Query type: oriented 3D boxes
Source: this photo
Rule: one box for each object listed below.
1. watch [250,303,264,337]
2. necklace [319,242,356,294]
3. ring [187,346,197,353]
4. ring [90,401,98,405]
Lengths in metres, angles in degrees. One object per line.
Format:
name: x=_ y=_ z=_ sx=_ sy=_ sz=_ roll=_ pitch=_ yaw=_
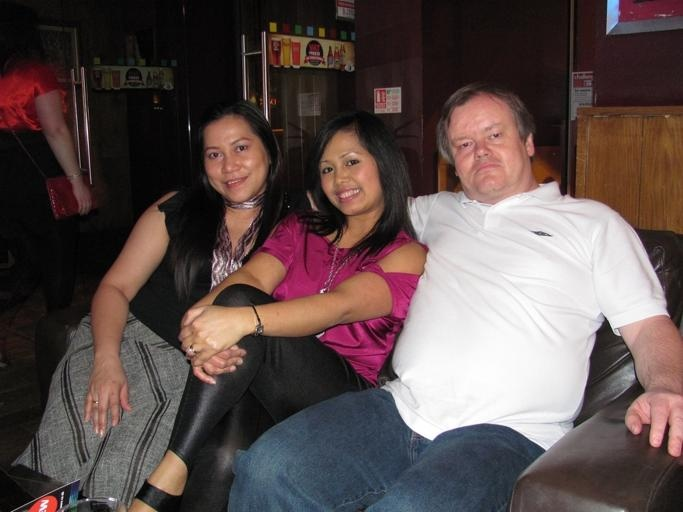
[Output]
watch: x=-0.262 y=0.209 z=1.589 sx=0.025 sy=0.069 sz=0.053 roll=-7 pitch=-7 yaw=25
necklace: x=-0.007 y=0.043 z=1.984 sx=0.076 sy=0.024 sz=0.217 roll=8 pitch=57 yaw=40
ring: x=-0.465 y=0.292 z=1.574 sx=0.022 sy=0.027 sz=0.010 roll=0 pitch=28 yaw=26
ring: x=-0.862 y=0.516 z=1.770 sx=0.014 sy=0.006 sz=0.016 roll=0 pitch=13 yaw=5
